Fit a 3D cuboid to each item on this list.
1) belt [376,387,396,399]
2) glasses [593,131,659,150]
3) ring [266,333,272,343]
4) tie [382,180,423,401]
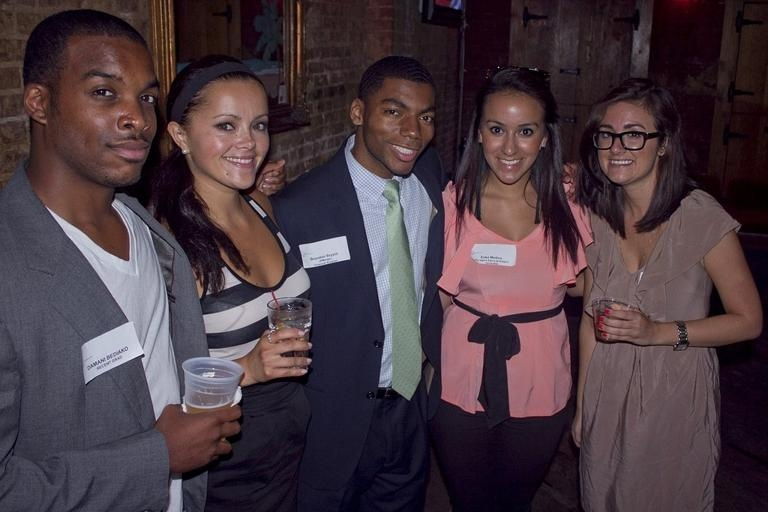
[{"bbox_3d":[0.008,0.679,2.715,0.078,0.036,0.056,-1,-3,1],"label":"belt"},{"bbox_3d":[1.196,-0.579,2.733,0.299,0.101,0.094,5,12,23],"label":"glasses"},{"bbox_3d":[-0.447,0.324,2.162,0.026,0.036,0.013,-1,-12,28],"label":"ring"},{"bbox_3d":[0.090,0.222,2.693,0.221,1.345,0.088,-20,31,-25],"label":"tie"}]
